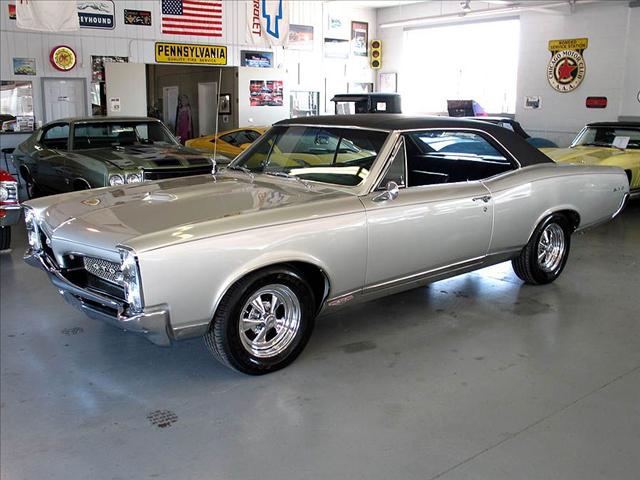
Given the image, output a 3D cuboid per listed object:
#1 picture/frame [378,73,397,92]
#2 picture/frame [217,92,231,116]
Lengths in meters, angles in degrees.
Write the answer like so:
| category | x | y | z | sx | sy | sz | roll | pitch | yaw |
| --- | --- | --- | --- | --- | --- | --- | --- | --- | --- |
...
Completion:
| category | x | y | z | sx | sy | sz | roll | pitch | yaw |
| --- | --- | --- | --- | --- | --- | --- | --- | --- | --- |
| picture/frame | 3.190 | -7.453 | 18.488 | 0.257 | 0.942 | 1.054 | -12 | 17 | -42 |
| picture/frame | -3.775 | -5.375 | 15.462 | 0.192 | 0.884 | 0.872 | -12 | 17 | -43 |
